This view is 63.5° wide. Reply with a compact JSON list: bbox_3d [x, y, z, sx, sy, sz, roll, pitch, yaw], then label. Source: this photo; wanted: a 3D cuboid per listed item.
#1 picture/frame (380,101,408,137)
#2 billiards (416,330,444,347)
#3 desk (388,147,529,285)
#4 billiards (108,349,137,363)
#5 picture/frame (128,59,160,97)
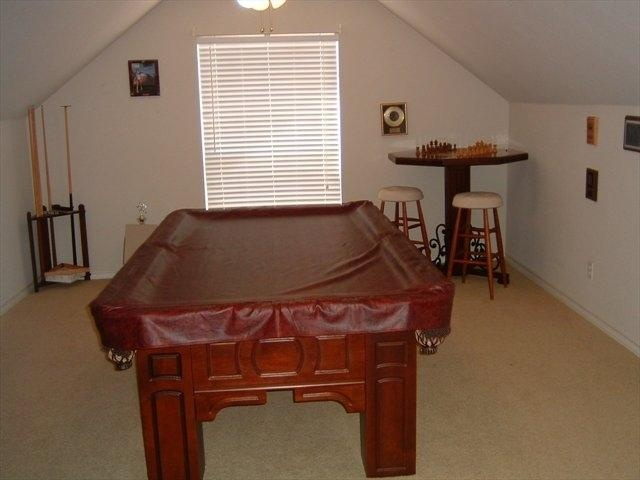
[{"bbox_3d":[0.767,-1.278,5.399,0.290,0.381,0.047,-1,6,-2],"label":"picture/frame"},{"bbox_3d":[0.508,0.449,2.440,0.081,0.064,0.096,-1,1,-5],"label":"billiards"},{"bbox_3d":[1.254,-0.306,5.346,1.264,1.348,1.148,-1,15,-7],"label":"desk"},{"bbox_3d":[-0.883,0.516,2.297,0.072,0.037,0.085,5,-5,-28],"label":"billiards"},{"bbox_3d":[-1.780,-1.640,5.189,0.308,0.401,0.048,0,5,-5],"label":"picture/frame"}]
